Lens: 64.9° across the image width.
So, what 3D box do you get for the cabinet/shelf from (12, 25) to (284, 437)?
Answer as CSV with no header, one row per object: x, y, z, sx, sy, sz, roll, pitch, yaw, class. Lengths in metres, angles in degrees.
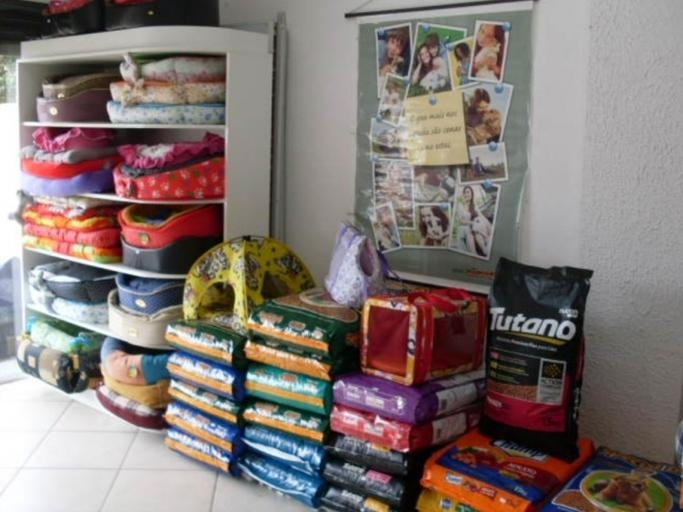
-1.046,-0.151,3.000,2.099,2.410,0.710,10,12,41,cabinet/shelf
